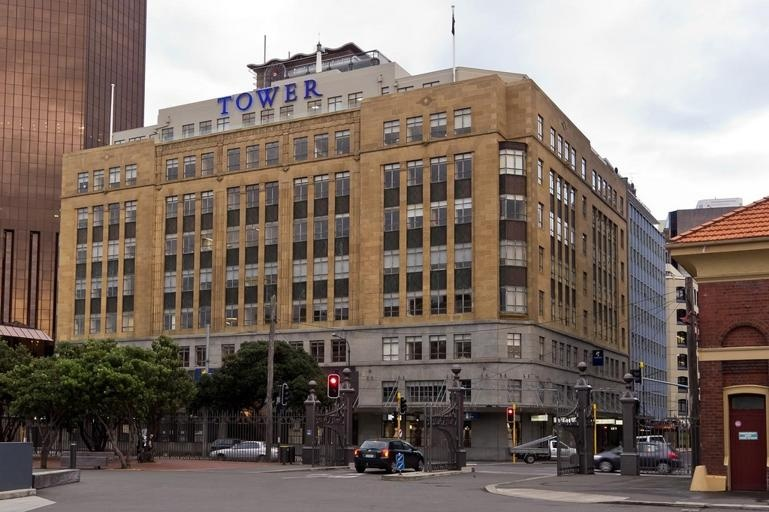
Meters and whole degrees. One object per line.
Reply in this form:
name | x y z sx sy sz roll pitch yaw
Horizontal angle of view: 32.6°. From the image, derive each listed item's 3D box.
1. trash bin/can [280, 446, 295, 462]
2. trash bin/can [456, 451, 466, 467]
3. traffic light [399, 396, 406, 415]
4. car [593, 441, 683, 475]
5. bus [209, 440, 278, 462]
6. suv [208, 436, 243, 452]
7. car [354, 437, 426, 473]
trash bin/can | -7.887 16.040 106.210 1.152 1.449 1.493 -1 -5 -3
trash bin/can | 5.660 14.986 97.512 0.908 1.387 0.357 15 -22 -43
traffic light | 1.407 11.754 104.255 0.400 1.051 1.129 -2 -16 7
car | 19.055 15.312 98.409 5.091 1.813 2.777 0 -7 13
bus | -11.843 16.476 110.637 5.879 1.897 3.784 -2 -16 4
suv | -13.923 16.125 113.066 2.363 1.133 1.576 1 -10 7
car | 0.551 14.749 97.679 2.567 1.723 4.387 -7 -8 41
